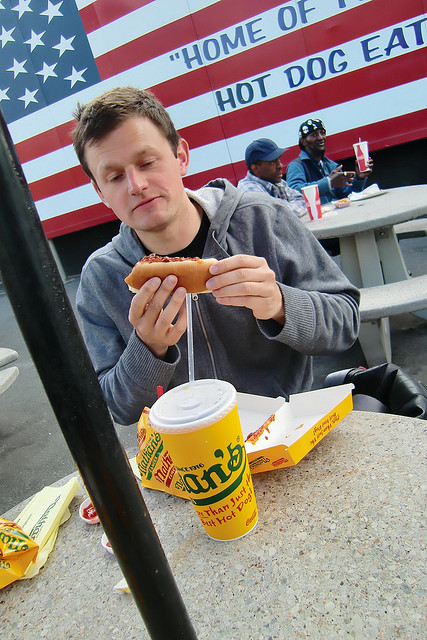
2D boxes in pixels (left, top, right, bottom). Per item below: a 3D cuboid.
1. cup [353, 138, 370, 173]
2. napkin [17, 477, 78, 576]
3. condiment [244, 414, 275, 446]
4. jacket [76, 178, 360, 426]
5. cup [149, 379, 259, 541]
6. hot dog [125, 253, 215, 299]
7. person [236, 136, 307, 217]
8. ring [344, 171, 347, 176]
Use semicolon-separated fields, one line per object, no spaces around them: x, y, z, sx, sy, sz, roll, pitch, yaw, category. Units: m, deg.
1.477;-1.622;4.143;0.116;0.281;0.224;-12;20;23;cup
-0.420;0.462;1.000;0.150;0.045;0.244;-16;18;10;napkin
0.105;0.246;0.947;0.059;0.020;0.059;-33;8;9;condiment
0.006;-0.058;1.645;1.054;0.902;0.764;-24;19;-11;jacket
0.002;0.231;0.815;0.197;0.269;0.258;-4;10;-35;cup
-0.122;-0.124;1.142;0.193;0.076;0.134;6;33;6;hot dog
0.626;-1.588;4.838;0.636;0.866;0.627;-6;5;14;person
1.331;-1.488;4.231;0.028;0.028;0.039;-6;-18;8;ring
